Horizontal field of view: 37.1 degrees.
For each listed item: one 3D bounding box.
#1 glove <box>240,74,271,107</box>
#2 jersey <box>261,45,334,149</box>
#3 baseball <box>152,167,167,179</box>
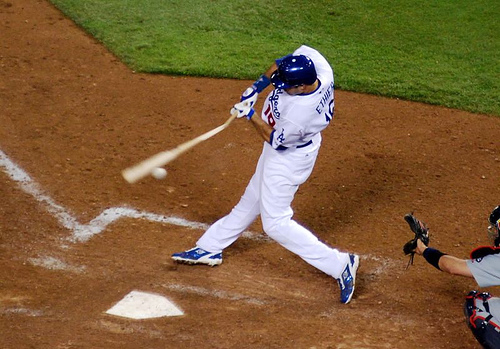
[{"bbox_3d":[0.084,-1.088,9.653,0.198,0.208,0.669,54,55,-16],"label":"glove"},{"bbox_3d":[0.629,-0.923,9.366,0.853,0.931,0.975,4,44,-12],"label":"jersey"},{"bbox_3d":[-1.148,-0.023,9.369,0.172,0.161,0.160,1,45,-14],"label":"baseball"}]
